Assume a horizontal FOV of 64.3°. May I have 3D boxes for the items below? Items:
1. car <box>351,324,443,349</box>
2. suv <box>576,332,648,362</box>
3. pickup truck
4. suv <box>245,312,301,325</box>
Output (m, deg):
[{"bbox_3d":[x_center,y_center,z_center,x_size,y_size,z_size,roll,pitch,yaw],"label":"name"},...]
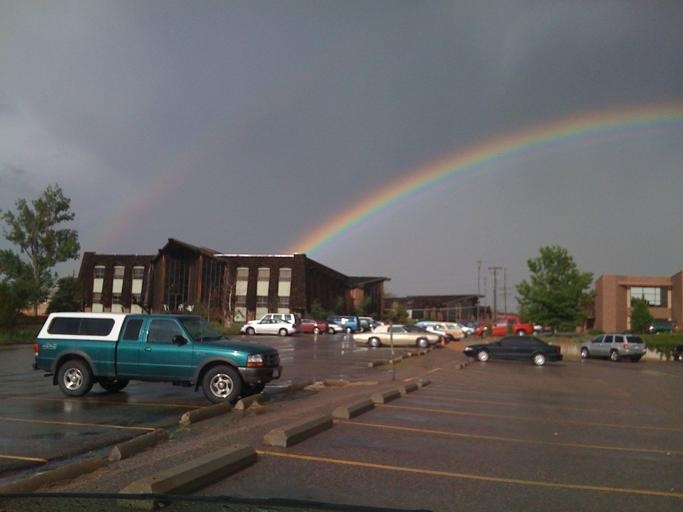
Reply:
[{"bbox_3d":[3.764,5.362,36.401,5.149,1.519,1.538,-1,-9,5],"label":"car"},{"bbox_3d":[16.156,5.437,32.507,1.872,1.660,3.468,4,-10,-25],"label":"suv"},{"bbox_3d":[-4.901,2.540,13.883,6.107,2.230,0.714,-3,-8,12],"label":"pickup truck"},{"bbox_3d":[-6.454,6.016,52.370,3.061,0.976,2.104,2,-2,9],"label":"suv"}]
